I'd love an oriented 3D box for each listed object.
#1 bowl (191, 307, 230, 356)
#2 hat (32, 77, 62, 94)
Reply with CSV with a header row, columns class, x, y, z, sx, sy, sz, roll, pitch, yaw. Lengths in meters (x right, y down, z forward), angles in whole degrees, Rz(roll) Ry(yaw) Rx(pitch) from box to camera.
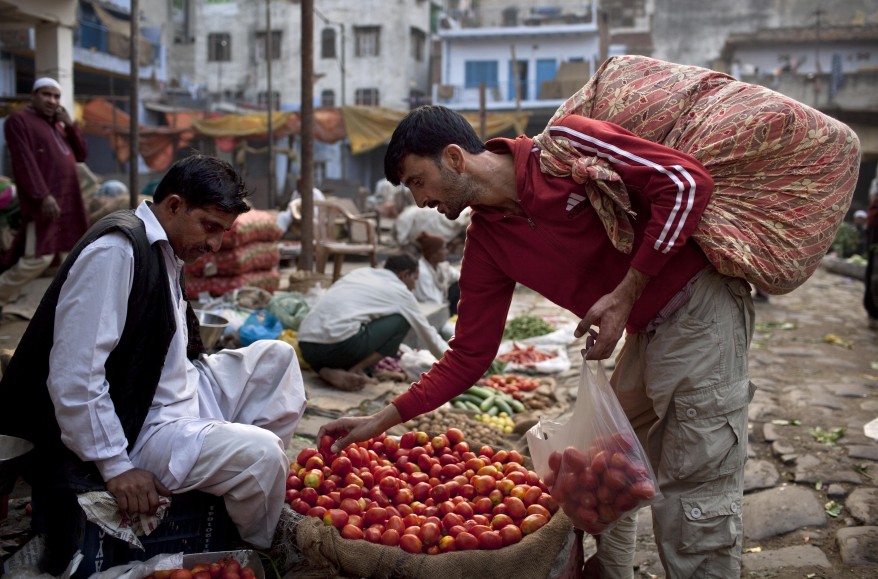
class,x,y,z,sx,sy,sz,roll,pitch,yaw
bowl,-2.064,0.367,8.870,0.331,0.220,0.344,13,16,-4
hat,-3.772,-1.948,9.584,0.243,0.144,0.240,-2,8,-40
